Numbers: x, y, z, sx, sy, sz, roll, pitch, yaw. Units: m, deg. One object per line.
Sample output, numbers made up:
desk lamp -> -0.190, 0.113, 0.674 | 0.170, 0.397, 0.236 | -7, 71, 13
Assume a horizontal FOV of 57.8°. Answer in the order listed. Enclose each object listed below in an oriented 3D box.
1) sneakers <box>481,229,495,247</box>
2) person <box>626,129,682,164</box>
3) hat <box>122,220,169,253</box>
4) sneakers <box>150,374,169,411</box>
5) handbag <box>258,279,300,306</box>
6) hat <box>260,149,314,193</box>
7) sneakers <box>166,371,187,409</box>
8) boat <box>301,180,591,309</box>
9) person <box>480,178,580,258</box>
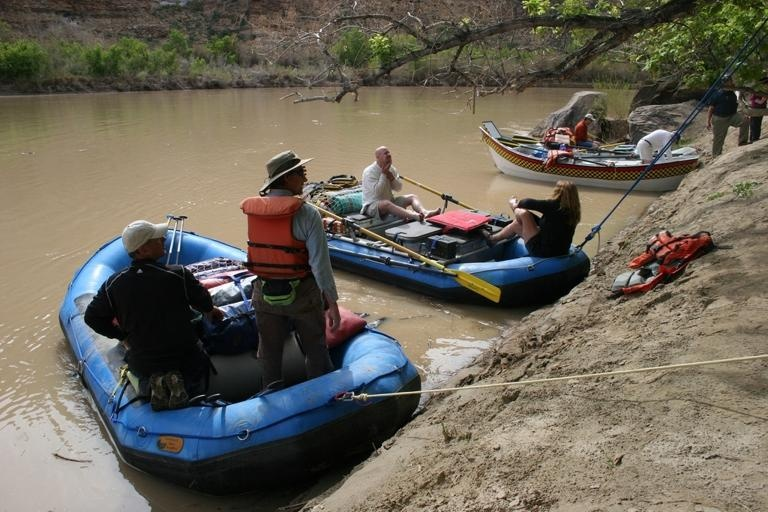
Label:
sneakers -> 1.660, -0.287, 11.140 | 0.178, 0.112, 0.257 | 12, 40, -48
person -> 5.938, -2.380, 15.264 | 0.789, 0.796, 2.336 | 8, 21, 18
hat -> -2.562, -0.216, 7.439 | 0.452, 0.328, 0.251 | -6, 24, -14
sneakers -> -2.469, 1.495, 7.627 | 0.264, 0.341, 0.143 | 1, 3, 1
handbag -> -1.157, 0.393, 7.690 | 0.417, 0.285, 0.168 | 2, 24, 5
hat -> -1.154, -0.915, 7.797 | 0.513, 0.510, 0.291 | -3, 24, -8
sneakers -> -2.285, 1.463, 7.641 | 0.272, 0.352, 0.150 | -7, 2, -11
boat -> 0.840, -0.230, 10.831 | 3.490, 0.553, 1.919 | 11, 22, 30
person -> 2.318, -0.574, 10.398 | 1.172, 1.224, 0.636 | 7, 25, 16
